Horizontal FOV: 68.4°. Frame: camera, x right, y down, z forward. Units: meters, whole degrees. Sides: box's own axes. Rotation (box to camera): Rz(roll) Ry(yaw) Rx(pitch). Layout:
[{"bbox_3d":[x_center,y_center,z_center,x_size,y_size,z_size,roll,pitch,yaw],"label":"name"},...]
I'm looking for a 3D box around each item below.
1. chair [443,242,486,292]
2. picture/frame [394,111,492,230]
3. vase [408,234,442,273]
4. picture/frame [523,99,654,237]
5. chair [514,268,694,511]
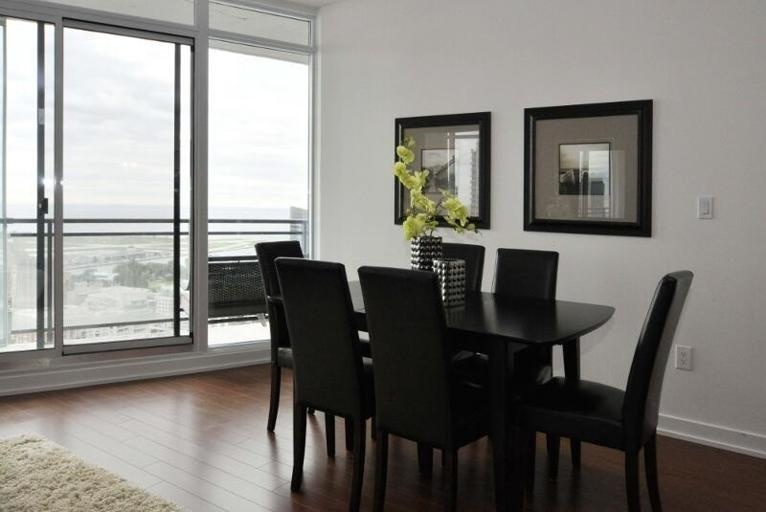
[{"bbox_3d":[0.760,0.097,4.645,0.353,0.494,0.367,1,-1,12],"label":"chair"},{"bbox_3d":[0.589,-0.805,5.102,1.234,1.250,0.097,3,6,41],"label":"picture/frame"},{"bbox_3d":[0.230,-0.025,4.021,0.239,0.298,0.239,-4,8,-40],"label":"vase"},{"bbox_3d":[1.752,-0.749,4.695,1.187,1.249,0.092,2,2,32],"label":"picture/frame"},{"bbox_3d":[1.295,0.770,3.316,0.753,1.421,0.607,7,13,29],"label":"chair"}]
